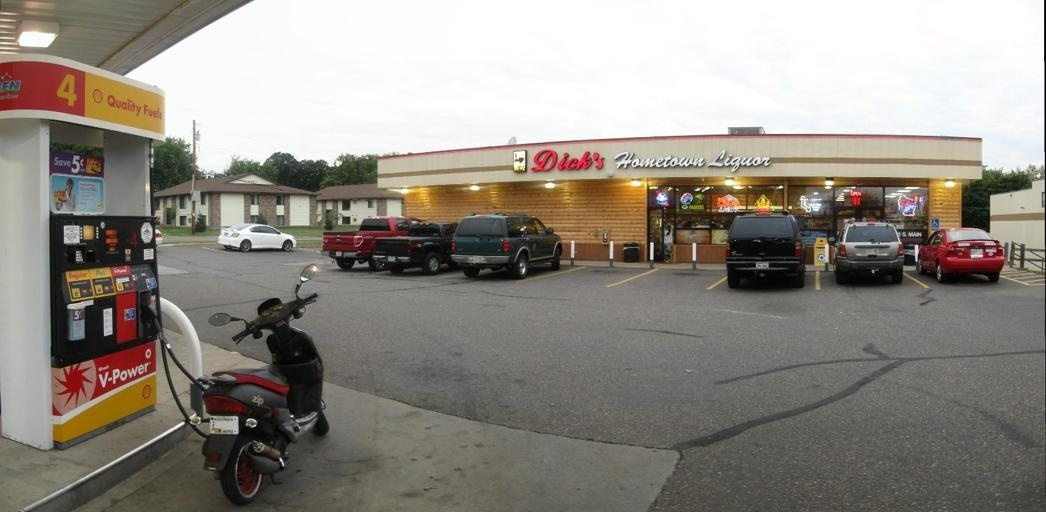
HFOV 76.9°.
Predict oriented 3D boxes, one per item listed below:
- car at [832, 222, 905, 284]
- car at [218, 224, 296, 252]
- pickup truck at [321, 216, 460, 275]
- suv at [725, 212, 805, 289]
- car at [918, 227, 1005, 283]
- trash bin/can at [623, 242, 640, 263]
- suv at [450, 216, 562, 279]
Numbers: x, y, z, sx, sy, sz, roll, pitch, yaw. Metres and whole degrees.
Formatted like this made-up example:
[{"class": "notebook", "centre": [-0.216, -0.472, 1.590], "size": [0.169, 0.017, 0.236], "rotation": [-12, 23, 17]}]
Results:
[{"class": "car", "centre": [11.469, -0.144, 22.108], "size": [1.640, 1.200, 3.048], "rotation": [1, 8, 21]}, {"class": "car", "centre": [-15.310, -1.015, 38.011], "size": [3.483, 1.541, 1.318], "rotation": [-5, 5, -34]}, {"class": "pickup truck", "centre": [-5.386, -0.334, 27.078], "size": [2.515, 1.665, 5.502], "rotation": [5, 8, 41]}, {"class": "suv", "centre": [7.916, -0.311, 21.653], "size": [1.958, 1.428, 3.470], "rotation": [0, 8, 21]}, {"class": "car", "centre": [15.032, -0.057, 22.854], "size": [1.698, 1.752, 2.399], "rotation": [-1, 4, 7]}, {"class": "trash bin/can", "centre": [5.237, -0.171, 31.778], "size": [0.836, 0.970, 0.741], "rotation": [-2, 5, 5]}, {"class": "suv", "centre": [-0.347, -0.468, 26.403], "size": [3.146, 2.428, 5.282], "rotation": [3, 6, 45]}]
